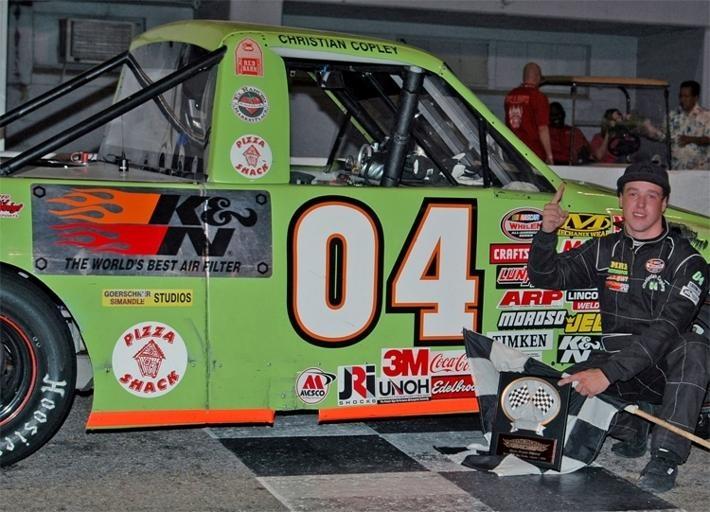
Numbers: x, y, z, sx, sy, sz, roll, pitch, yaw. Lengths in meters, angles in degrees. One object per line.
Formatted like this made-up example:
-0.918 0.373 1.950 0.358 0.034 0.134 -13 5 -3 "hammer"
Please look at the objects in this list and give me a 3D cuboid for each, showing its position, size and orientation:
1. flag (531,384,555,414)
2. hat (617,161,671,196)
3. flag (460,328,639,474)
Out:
1.177 0.891 5.906 0.160 0.151 0.023 -30 -11 35 "flag"
1.871 -0.523 6.130 0.366 0.185 0.406 3 -11 34 "hat"
1.230 0.926 6.005 0.921 0.791 0.306 1 -4 20 "flag"
